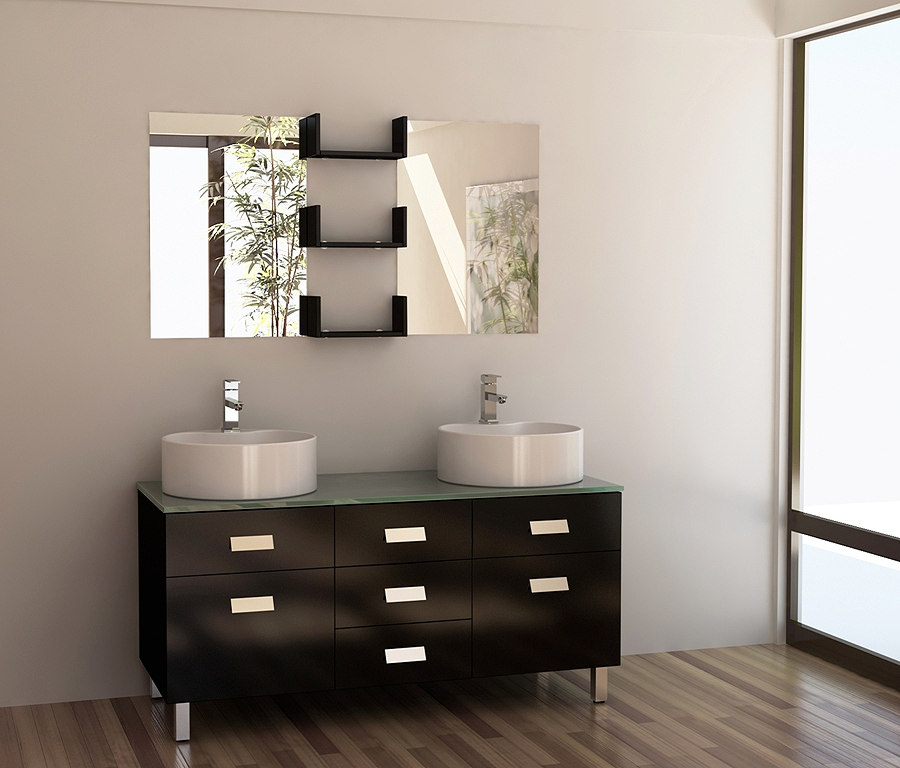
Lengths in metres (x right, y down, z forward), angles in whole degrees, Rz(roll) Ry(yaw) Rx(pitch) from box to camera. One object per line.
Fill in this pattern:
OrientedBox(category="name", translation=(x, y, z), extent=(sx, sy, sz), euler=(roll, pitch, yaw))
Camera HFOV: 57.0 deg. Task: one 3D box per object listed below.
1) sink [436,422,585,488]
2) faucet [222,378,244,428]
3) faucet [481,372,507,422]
OrientedBox(category="sink", translation=(0.213, 0.253, 2.880), extent=(0.500, 0.188, 0.196), euler=(-1, 6, -5))
OrientedBox(category="faucet", translation=(-0.761, 0.069, 2.898), extent=(0.073, 0.170, 0.150), euler=(-3, 6, -15))
OrientedBox(category="faucet", translation=(0.161, 0.058, 3.139), extent=(0.099, 0.187, 0.204), euler=(-1, 5, 3))
